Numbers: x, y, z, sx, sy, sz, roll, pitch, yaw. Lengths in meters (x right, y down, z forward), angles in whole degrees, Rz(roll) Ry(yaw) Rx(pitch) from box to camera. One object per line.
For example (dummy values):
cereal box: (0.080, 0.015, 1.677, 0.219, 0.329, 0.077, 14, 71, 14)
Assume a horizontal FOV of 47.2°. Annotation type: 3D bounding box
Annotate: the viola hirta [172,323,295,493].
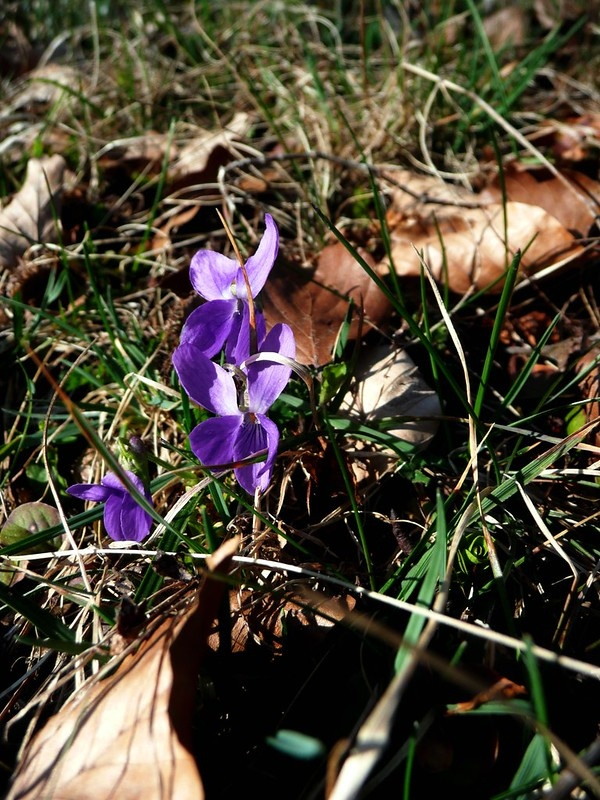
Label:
viola hirta: (-0.066, -0.015, 1.153, 0.263, 0.095, 0.265, 7, 58, 32)
